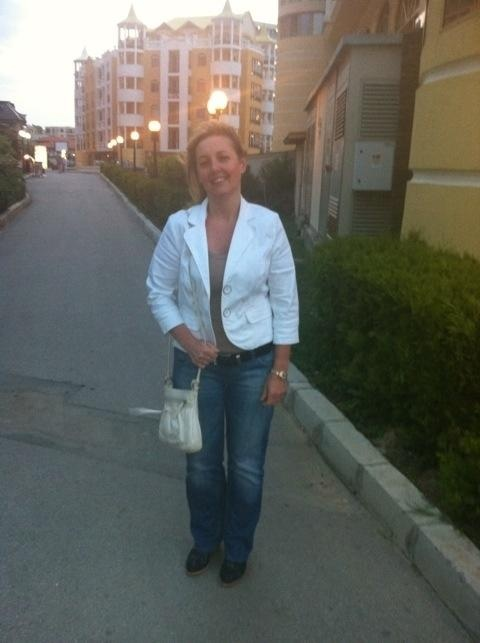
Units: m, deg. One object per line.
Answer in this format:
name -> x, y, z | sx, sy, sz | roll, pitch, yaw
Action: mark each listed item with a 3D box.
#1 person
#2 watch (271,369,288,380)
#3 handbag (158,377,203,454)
person -> -0.083, 0.159, 1.820 | 0.597, 1.860, 0.372 | 4, 5, 35
watch -> 0.156, 0.217, 1.771 | 0.062, 0.044, 0.057 | 2, 6, 2
handbag -> -0.236, 0.354, 1.742 | 0.204, 0.286, 0.100 | 4, 6, 29
